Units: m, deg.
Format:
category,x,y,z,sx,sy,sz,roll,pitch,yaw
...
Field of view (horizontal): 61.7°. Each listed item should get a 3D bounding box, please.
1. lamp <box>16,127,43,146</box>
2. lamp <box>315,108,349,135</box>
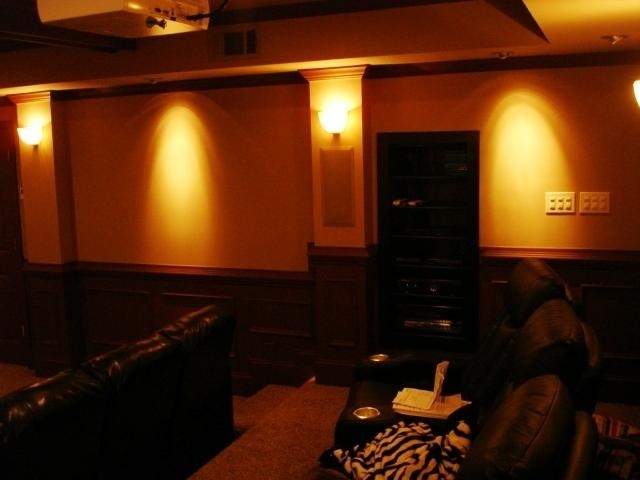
category,x,y,z,sx,sy,sz,roll,pitch,yaw
lamp,-2.899,-1.038,5.347,0.249,0.177,0.100,2,8,20
lamp,0.119,-0.965,4.345,0.203,0.159,0.203,-2,8,-11
